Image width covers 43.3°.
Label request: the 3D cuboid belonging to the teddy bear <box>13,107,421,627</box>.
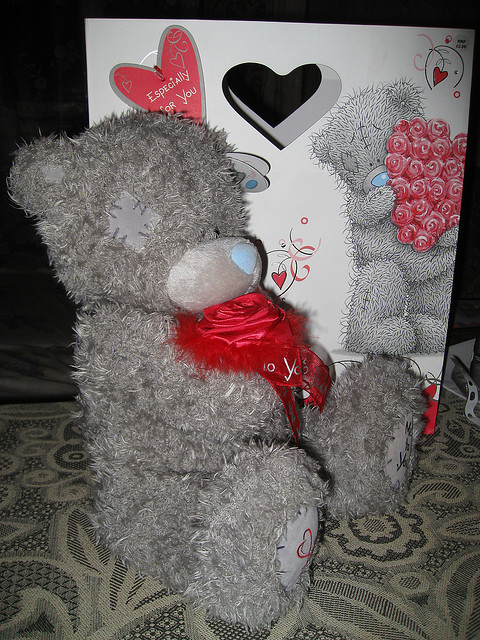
[{"bbox_3d":[-0.016,0.046,0.932,0.561,0.620,0.591,6,20,16],"label":"teddy bear"}]
